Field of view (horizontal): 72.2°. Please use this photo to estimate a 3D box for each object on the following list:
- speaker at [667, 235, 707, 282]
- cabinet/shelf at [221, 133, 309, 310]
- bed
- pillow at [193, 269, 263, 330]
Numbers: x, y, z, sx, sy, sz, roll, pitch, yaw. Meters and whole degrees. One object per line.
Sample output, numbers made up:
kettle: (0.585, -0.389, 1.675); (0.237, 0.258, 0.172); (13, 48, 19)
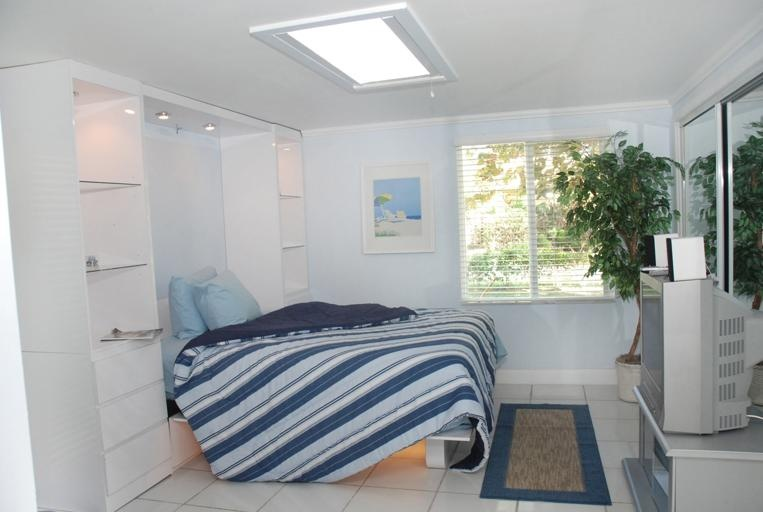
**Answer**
speaker: (1.725, 0.017, 2.990); (0.256, 0.228, 0.092); (-3, -1, -19)
cabinet/shelf: (-1.311, -0.401, 5.905); (0.749, 1.905, 0.840); (-1, 10, 10)
bed: (-0.324, 1.049, 4.139); (1.581, 0.642, 1.570); (-3, -1, 13)
pillow: (-1.373, 0.265, 4.659); (0.413, 0.415, 0.770); (-7, 4, 11)
